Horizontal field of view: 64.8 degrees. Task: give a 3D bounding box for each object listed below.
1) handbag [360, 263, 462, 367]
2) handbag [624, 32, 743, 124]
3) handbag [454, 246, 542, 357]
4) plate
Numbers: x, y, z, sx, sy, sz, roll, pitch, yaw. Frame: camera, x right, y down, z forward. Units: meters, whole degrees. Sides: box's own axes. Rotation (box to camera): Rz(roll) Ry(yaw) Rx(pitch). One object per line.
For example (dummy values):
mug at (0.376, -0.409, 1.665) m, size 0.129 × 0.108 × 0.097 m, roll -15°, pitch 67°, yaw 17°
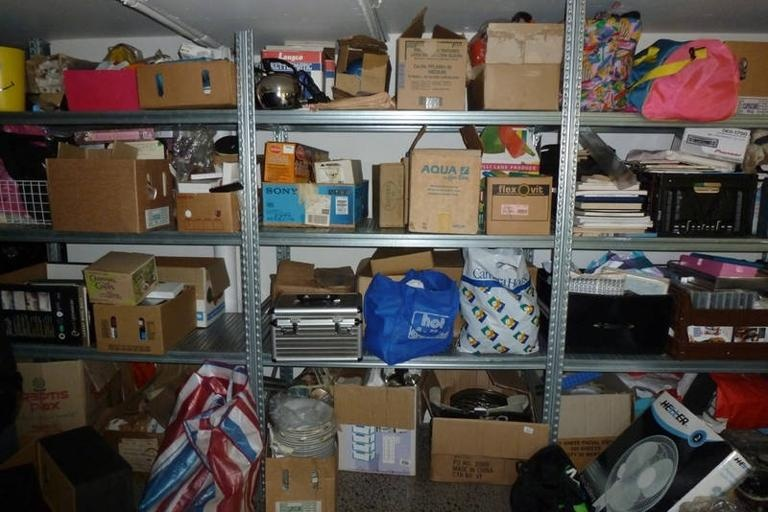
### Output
handbag at (0.181, 0.311, 3.428) m, size 0.514 × 0.379 × 0.519 m, roll 4°, pitch 3°, yaw 27°
handbag at (1.577, -0.919, 3.207) m, size 0.531 × 0.400 × 0.135 m, roll 1°, pitch 8°, yaw 7°
handbag at (0.625, 0.266, 3.397) m, size 0.596 × 0.697 × 0.374 m, roll -1°, pitch 7°, yaw -5°
plate at (-0.470, 0.950, 3.437) m, size 0.395 × 0.174 × 0.495 m, roll 1°, pitch 7°, yaw -7°
